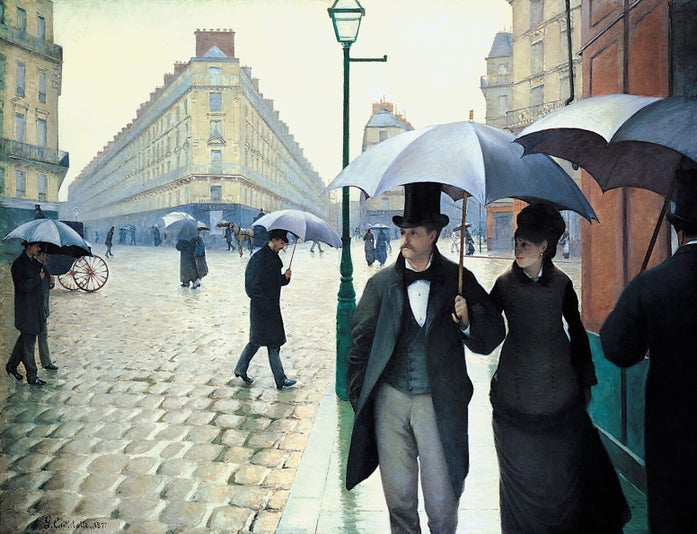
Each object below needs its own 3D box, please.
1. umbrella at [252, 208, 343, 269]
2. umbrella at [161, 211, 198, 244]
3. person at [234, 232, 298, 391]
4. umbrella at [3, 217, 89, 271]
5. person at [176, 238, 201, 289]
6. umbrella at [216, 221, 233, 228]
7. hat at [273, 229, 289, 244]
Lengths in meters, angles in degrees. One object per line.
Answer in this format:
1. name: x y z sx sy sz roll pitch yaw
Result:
1. umbrella: -0.693 -0.393 8.620 0.933 0.689 0.914 13 8 -11
2. umbrella: -4.532 -1.027 18.427 0.849 0.926 0.344 11 -42 -27
3. person: -1.024 0.494 8.509 0.737 1.946 0.599 0 5 -1
4. umbrella: -3.969 -0.373 9.430 0.947 0.466 0.928 13 -9 -42
5. person: -4.310 -0.090 18.662 0.531 1.455 1.412 -1 6 -13
6. umbrella: -6.473 -2.245 36.139 0.752 0.368 0.616 0 0 20
7. hat: -0.828 -0.363 8.285 0.206 0.191 0.351 -1 6 -8
